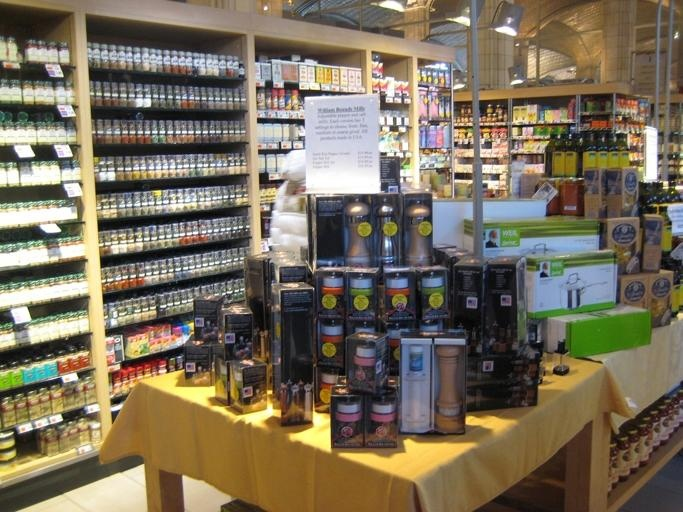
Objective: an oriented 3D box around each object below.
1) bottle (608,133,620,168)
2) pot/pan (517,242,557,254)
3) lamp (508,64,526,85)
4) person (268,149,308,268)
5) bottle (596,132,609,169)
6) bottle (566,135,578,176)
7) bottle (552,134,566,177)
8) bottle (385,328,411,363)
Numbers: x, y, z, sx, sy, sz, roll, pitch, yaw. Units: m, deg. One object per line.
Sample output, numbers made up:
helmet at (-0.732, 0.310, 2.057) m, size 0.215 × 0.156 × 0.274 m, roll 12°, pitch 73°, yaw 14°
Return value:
bottle at (1.808, -0.709, 3.696) m, size 0.065 × 0.219 × 0.090 m, roll 0°, pitch 8°, yaw 23°
pot/pan at (1.094, -0.046, 3.064) m, size 0.229 × 0.060 × 0.065 m, roll -6°, pitch 8°, yaw -24°
lamp at (4.066, -4.165, 12.873) m, size 0.367 × 0.477 × 0.817 m, roll -2°, pitch 8°, yaw 8°
person at (-0.408, -0.436, 4.299) m, size 0.316 × 0.777 × 0.596 m, roll -4°, pitch 8°, yaw -6°
bottle at (1.745, -0.717, 3.709) m, size 0.063 × 0.228 × 0.098 m, roll 4°, pitch 10°, yaw 41°
bottle at (1.603, -0.703, 3.873) m, size 0.084 × 0.288 × 0.111 m, roll -1°, pitch 8°, yaw 17°
bottle at (1.538, -0.710, 3.938) m, size 0.084 × 0.282 × 0.147 m, roll 0°, pitch 8°, yaw 21°
bottle at (0.223, 0.365, 2.330) m, size 0.133 × 0.140 × 0.131 m, roll 2°, pitch 10°, yaw 9°
